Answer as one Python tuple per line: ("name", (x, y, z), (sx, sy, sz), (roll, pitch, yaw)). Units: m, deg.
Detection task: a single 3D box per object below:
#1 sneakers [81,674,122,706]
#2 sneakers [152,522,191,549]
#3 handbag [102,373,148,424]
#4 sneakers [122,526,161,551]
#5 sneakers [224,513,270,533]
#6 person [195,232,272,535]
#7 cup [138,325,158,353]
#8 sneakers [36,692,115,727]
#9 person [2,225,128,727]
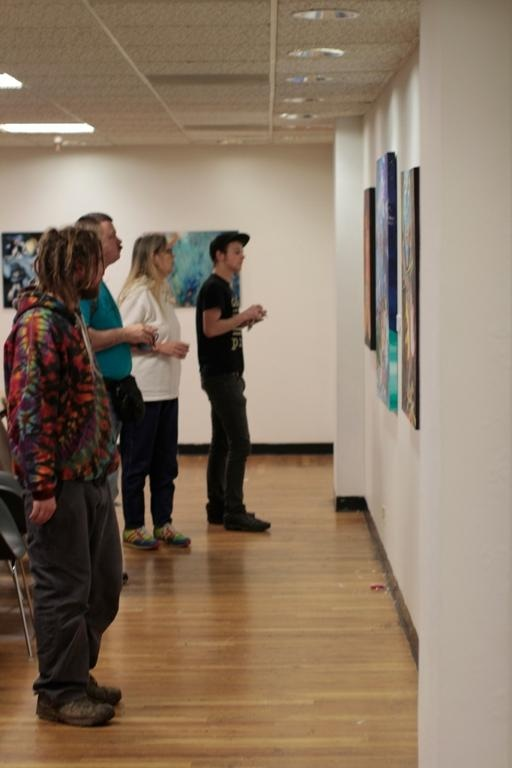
("sneakers", (-0.540, 1.085, 2.351), (0.161, 0.135, 0.058), (-2, 6, -20))
("sneakers", (-0.572, 1.002, 4.396), (0.289, 0.147, 0.109), (2, 1, 38))
("handbag", (-0.670, 0.084, 3.395), (0.074, 0.247, 0.172), (-16, 1, 23))
("sneakers", (-0.744, 0.988, 4.243), (0.223, 0.123, 0.116), (0, 0, 28))
("sneakers", (-0.058, 0.967, 4.696), (0.312, 0.175, 0.137), (1, -1, 9))
("person", (-0.169, -0.022, 4.649), (0.483, 2.143, 0.539), (-1, 2, -6))
("cup", (-0.590, -0.244, 3.727), (0.099, 0.159, 0.057), (7, 5, 32))
("sneakers", (-0.598, 1.079, 2.166), (0.213, 0.118, 0.116), (1, 3, 3))
("person", (-0.631, 0.318, 2.149), (0.273, 1.667, 0.486), (0, 2, 18))
